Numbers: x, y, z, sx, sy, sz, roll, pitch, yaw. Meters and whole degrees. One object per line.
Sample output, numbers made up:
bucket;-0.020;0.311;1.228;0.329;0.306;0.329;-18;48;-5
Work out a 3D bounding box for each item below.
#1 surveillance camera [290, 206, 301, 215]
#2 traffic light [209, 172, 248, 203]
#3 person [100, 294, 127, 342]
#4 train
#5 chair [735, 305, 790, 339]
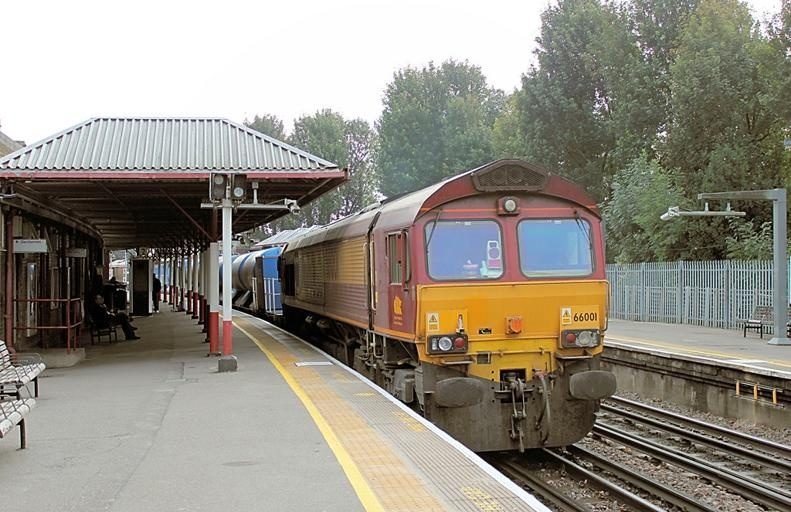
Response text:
surveillance camera;-2.622;-1.205;14.326;0.254;0.108;0.356;-1;-6;-7
traffic light;-4.046;-1.584;13.268;0.988;0.774;0.554;0;2;-27
person;-10.227;1.995;19.727;0.693;1.255;2.796;-2;-1;-29
train;0.494;1.143;11.950;2.987;5.240;7.550;-2;-1;-33
chair;12.420;2.151;18.670;1.361;1.141;2.658;-3;-1;36
